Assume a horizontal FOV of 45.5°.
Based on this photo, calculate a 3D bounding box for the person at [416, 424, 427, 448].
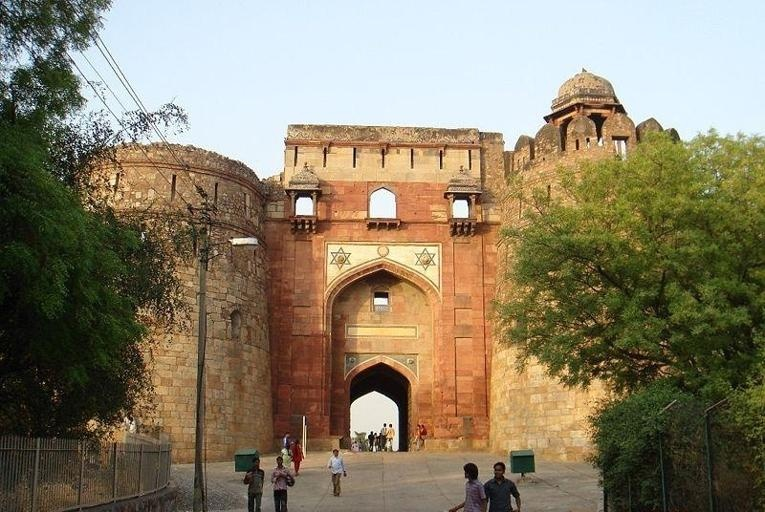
[{"bbox_3d":[1.366,6.407,32.545,0.309,0.903,0.525,1,-13,-11],"label":"person"}]
